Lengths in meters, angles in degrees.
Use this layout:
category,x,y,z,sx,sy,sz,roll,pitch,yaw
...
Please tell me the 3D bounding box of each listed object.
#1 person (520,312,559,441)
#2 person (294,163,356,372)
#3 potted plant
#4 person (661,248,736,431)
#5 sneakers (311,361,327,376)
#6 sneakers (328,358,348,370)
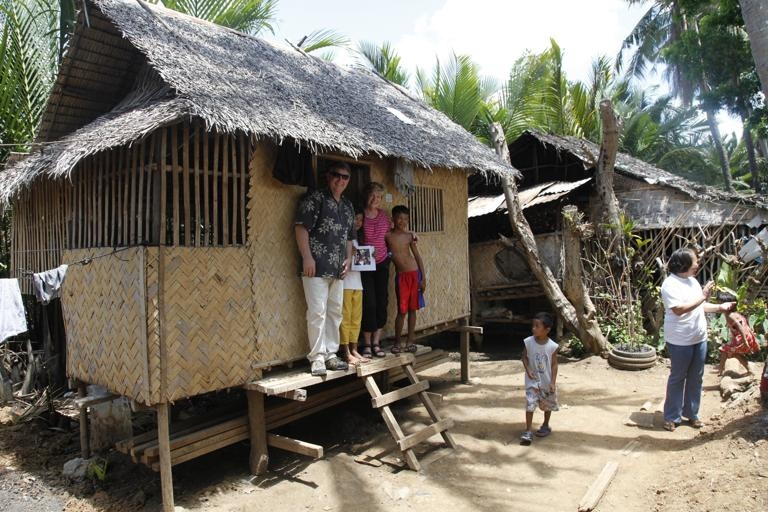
category,x,y,z,sx,sy,sz,roll,pitch,yaw
person,2.442,1.880,9.607,0.569,1.975,0.868,0,13,15
person,-0.839,0.181,9.265,1.074,3.046,0.751,-11,15,-28
potted plant,5.251,0.603,13.171,0.959,3.021,2.206,-1,13,12
person,4.560,1.291,9.284,0.618,2.771,0.548,3,15,26
sneakers,-0.973,1.676,9.131,0.227,0.222,0.182,-5,13,-7
sneakers,-0.687,1.646,9.297,0.298,0.129,0.157,-5,1,28
